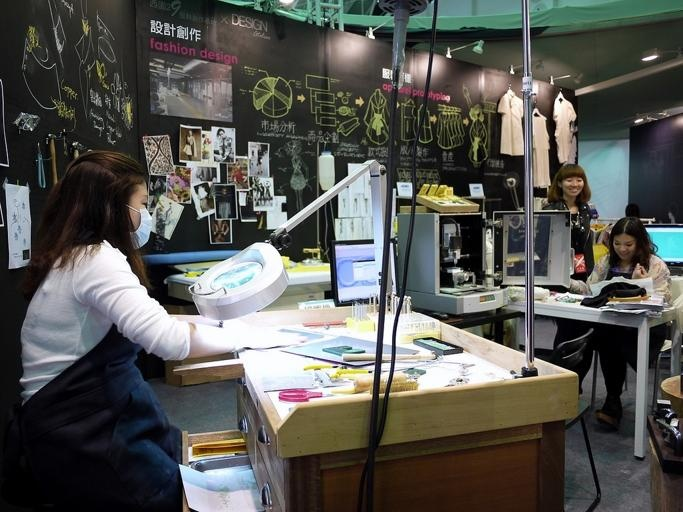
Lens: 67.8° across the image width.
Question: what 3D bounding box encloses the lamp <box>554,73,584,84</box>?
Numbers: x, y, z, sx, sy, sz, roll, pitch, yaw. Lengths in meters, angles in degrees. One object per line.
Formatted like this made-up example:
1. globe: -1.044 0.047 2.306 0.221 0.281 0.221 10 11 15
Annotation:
1. lamp: 3.872 -3.035 8.694 0.488 0.156 0.228 -1 8 -10

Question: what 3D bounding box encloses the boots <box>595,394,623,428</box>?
1. boots: 1.954 1.098 3.692 0.085 0.177 0.190 1 -9 -22

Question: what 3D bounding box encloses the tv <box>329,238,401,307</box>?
1. tv: 0.106 0.096 2.804 0.383 0.396 0.136 -1 -8 -26

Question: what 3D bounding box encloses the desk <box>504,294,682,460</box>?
1. desk: 1.822 0.543 3.655 0.925 0.934 1.209 -8 10 -39

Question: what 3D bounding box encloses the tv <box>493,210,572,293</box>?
1. tv: 1.504 -0.020 3.992 0.865 0.666 0.392 -7 11 -43
